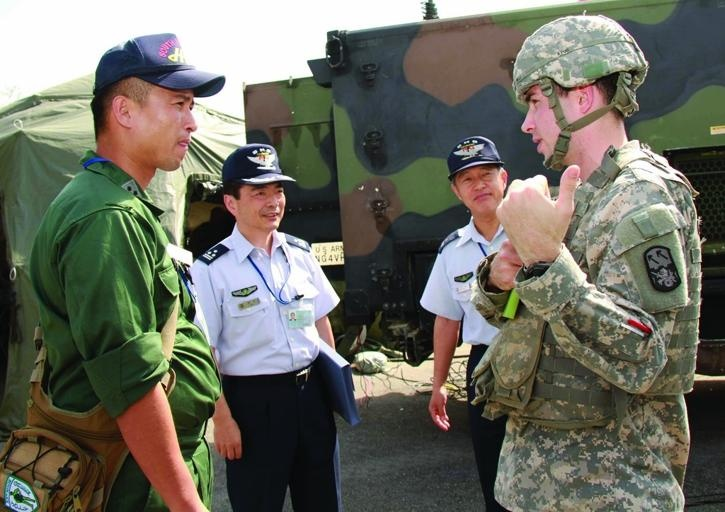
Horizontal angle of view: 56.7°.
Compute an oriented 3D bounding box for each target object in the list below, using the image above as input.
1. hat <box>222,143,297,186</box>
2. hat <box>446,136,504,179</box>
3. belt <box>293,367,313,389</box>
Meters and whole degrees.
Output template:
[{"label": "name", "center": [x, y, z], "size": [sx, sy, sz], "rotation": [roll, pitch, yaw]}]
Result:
[{"label": "hat", "center": [-0.618, -0.528, 3.926], "size": [0.372, 0.289, 0.539], "rotation": [-2, -2, -39]}, {"label": "hat", "center": [0.661, -0.607, 4.065], "size": [0.320, 0.233, 0.430], "rotation": [-16, -1, 0]}, {"label": "belt", "center": [-0.318, 0.648, 3.580], "size": [0.069, 0.099, 0.046], "rotation": [-1, 10, -35]}]
